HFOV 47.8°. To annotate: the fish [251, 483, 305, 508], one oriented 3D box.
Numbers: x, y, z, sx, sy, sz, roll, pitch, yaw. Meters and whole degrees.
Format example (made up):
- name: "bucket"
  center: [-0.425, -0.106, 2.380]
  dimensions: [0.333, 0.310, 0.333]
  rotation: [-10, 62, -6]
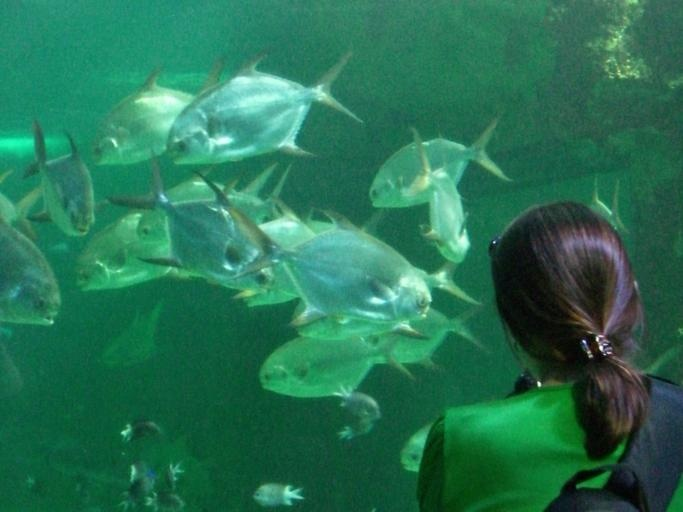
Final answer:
- name: "fish"
  center: [-0.583, 2.178, 7.012]
  dimensions: [0.233, 0.272, 0.458]
  rotation: [-10, -5, 38]
